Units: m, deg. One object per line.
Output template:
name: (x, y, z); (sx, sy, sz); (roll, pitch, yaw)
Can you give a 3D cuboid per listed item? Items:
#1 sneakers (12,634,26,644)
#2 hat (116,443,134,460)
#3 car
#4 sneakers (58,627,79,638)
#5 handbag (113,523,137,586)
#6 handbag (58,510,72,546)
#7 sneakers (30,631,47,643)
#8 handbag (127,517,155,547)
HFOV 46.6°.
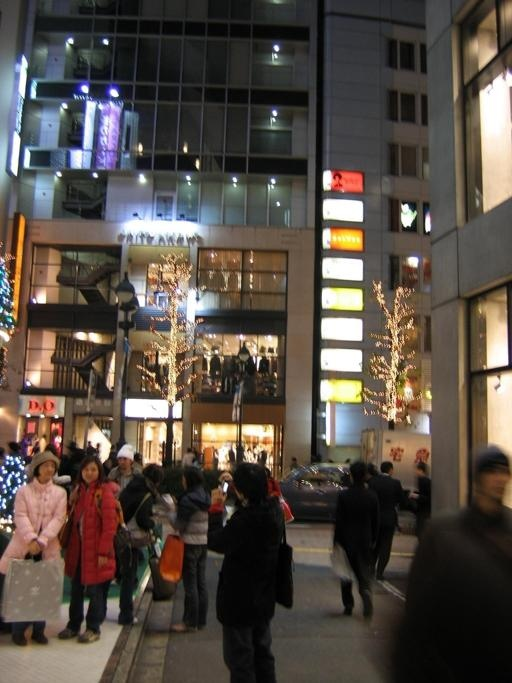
sneakers: (-2.352, 2.922, 5.882); (0.144, 0.079, 0.142); (6, -8, -18)
hat: (-1.606, 1.338, 7.289); (0.140, 0.199, 0.211); (4, -14, -8)
car: (1.798, 4.972, 19.869); (2.923, 1.915, 1.850); (3, -7, -2)
sneakers: (-1.968, 3.011, 6.228); (0.084, 0.087, 0.184); (3, -22, 21)
handbag: (-1.518, 2.521, 7.061); (0.230, 0.874, 0.322); (-10, 32, -26)
handbag: (-2.028, 1.976, 6.254); (0.120, 0.331, 0.210); (6, -8, -28)
sneakers: (-2.189, 2.942, 5.980); (0.078, 0.111, 0.219); (9, -18, -33)
handbag: (-1.384, 2.244, 7.046); (0.290, 0.355, 0.232); (7, -17, -14)
